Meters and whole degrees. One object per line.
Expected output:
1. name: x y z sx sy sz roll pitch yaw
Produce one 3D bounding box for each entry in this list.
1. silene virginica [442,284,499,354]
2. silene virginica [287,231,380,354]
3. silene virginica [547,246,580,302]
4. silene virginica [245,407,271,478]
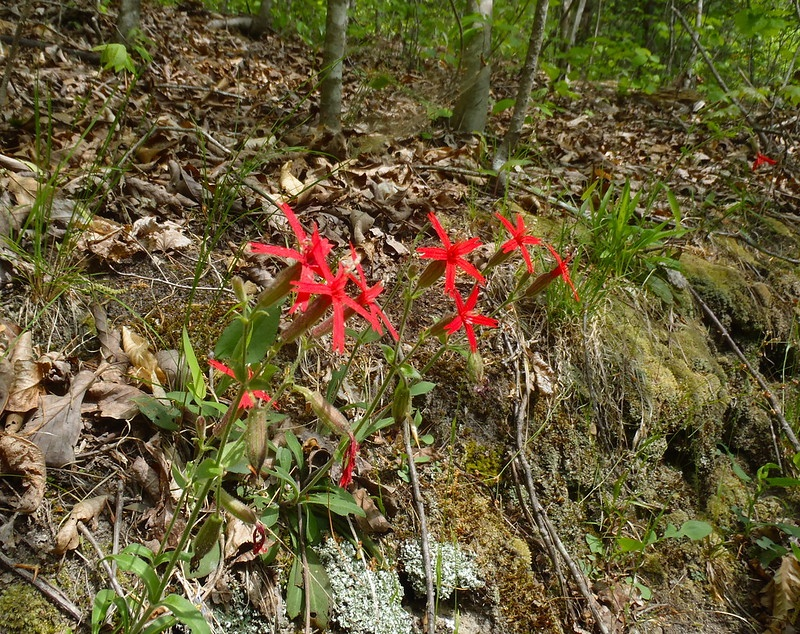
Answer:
1. silene virginica: 0.311 -0.033 3.093 0.341 0.162 0.322 26 1 9
2. silene virginica: -0.204 -0.100 2.859 0.425 0.239 0.421 42 24 13
3. silene virginica: 0.960 -0.239 4.024 0.272 0.094 0.232 50 10 8
4. silene virginica: -0.576 0.487 2.725 0.081 0.298 0.173 2 26 -14
